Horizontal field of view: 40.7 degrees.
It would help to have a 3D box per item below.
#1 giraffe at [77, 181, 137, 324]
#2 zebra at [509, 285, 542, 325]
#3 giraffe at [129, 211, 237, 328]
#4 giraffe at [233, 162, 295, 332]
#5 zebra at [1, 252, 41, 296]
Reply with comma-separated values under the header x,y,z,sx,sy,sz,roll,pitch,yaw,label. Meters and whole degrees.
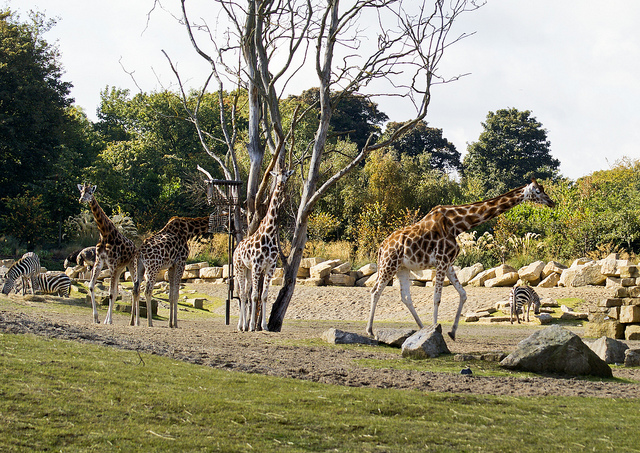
x,y,z,sx,sy,sz,roll,pitch,yaw,label
-5.963,0.706,24.110,1.657,3.976,1.776,5,-7,-15,giraffe
6.535,2.404,27.377,0.472,1.237,1.658,-2,-3,44,zebra
-4.326,1.205,24.481,1.967,3.286,0.800,9,-9,-37,giraffe
-1.700,0.631,24.144,0.922,4.589,1.620,8,-8,-31,giraffe
-9.371,1.490,27.001,0.655,1.414,1.495,2,-8,9,zebra
